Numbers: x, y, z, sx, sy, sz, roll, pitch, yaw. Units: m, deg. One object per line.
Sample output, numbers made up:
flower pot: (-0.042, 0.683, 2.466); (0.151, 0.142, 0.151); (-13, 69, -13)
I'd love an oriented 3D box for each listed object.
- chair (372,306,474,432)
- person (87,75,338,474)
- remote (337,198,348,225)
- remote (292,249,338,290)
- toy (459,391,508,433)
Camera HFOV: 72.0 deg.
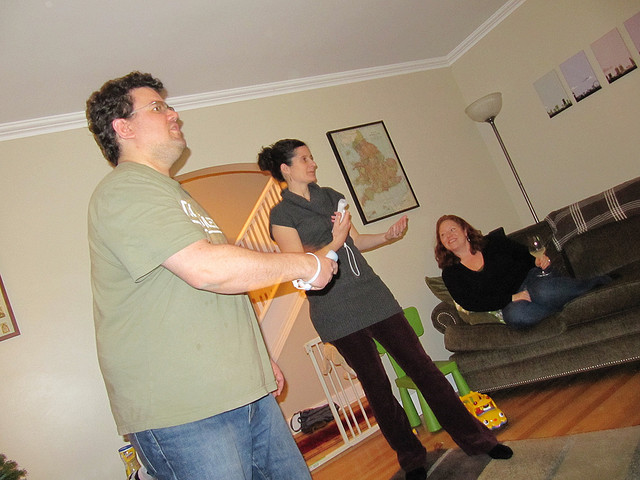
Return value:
chair: (0.738, 0.893, 3.187); (0.479, 0.772, 0.504); (-19, -8, -1)
person: (-0.462, 0.119, 1.565); (0.744, 1.299, 0.372); (-21, -4, -9)
remote: (0.115, -0.145, 2.234); (0.044, 0.161, 0.096); (6, -24, -7)
remote: (-0.012, 0.110, 1.620); (0.161, 0.123, 0.059); (-42, -10, -8)
toy: (1.068, 1.098, 2.825); (0.226, 0.268, 0.230); (-23, -4, 13)
